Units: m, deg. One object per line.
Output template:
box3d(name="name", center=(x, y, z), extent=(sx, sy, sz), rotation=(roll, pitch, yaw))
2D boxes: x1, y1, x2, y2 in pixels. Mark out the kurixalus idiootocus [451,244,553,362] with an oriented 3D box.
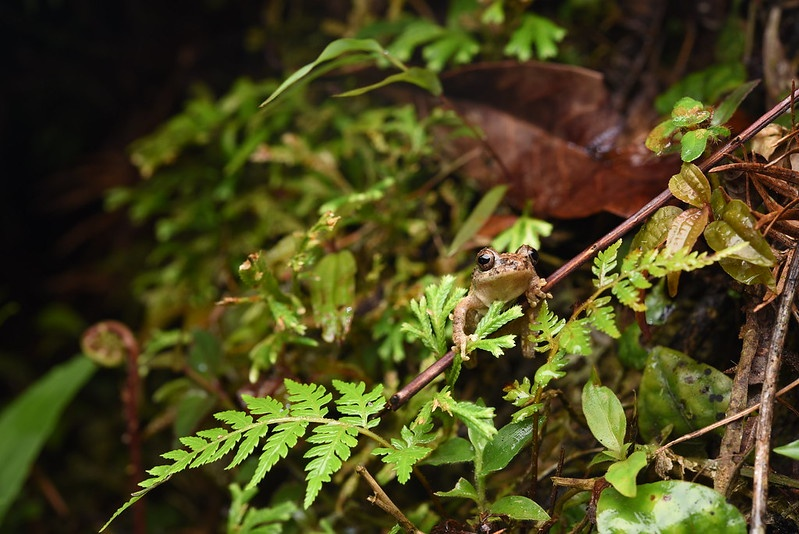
box3d(name="kurixalus idiootocus", center=(0.347, 0.112, 2.642), extent=(0.390, 0.388, 0.508), rotation=(-7, 8, -15))
